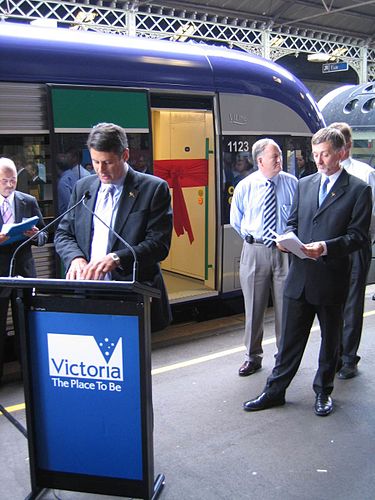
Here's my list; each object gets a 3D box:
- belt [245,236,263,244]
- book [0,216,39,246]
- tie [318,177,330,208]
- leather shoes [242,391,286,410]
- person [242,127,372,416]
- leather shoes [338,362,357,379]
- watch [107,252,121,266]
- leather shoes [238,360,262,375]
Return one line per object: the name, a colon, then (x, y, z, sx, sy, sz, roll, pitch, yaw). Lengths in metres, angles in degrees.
belt: (0.574, -0.087, 3.737, 0.109, 0.038, 0.076, 1, -3, -7)
book: (-1.167, -0.150, 3.119, 0.261, 0.094, 0.261, -37, -12, 36)
tie: (0.923, -0.402, 2.955, 0.058, 0.200, 0.104, -1, 5, -12)
leather shoes: (0.577, 1.116, 3.274, 0.376, 0.146, 0.122, 1, -5, -18)
person: (0.875, 0.192, 3.032, 0.507, 2.007, 0.625, -4, 6, -37)
leather shoes: (1.426, 1.090, 3.866, 0.080, 0.089, 0.217, -5, -7, 37)
watch: (-0.349, 0.032, 2.097, 0.043, 0.067, 0.064, -41, 27, -10)
leather shoes: (0.568, 1.087, 3.995, 0.094, 0.101, 0.256, -10, -9, 41)
